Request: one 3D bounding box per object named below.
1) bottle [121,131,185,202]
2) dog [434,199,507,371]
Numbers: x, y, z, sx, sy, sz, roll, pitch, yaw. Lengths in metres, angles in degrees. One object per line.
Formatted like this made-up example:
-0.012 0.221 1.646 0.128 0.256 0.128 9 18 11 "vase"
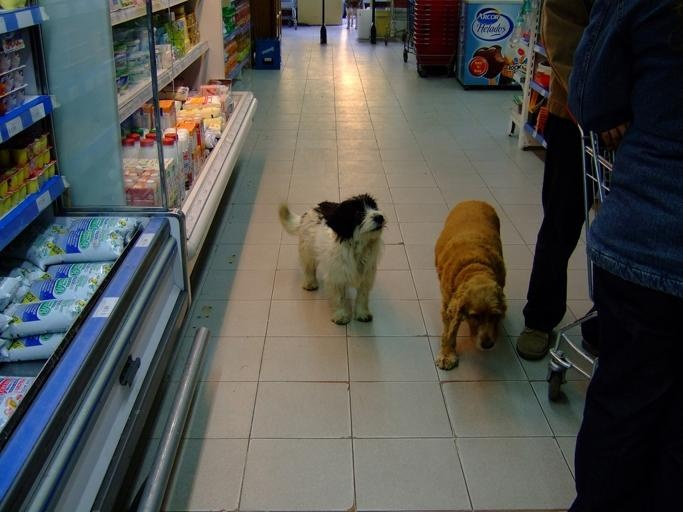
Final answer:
-0.983 -0.455 2.336 0.196 0.366 0.397 4 27 0 "bottle"
0.658 0.088 2.630 0.315 0.533 1.120 -5 38 14 "dog"
